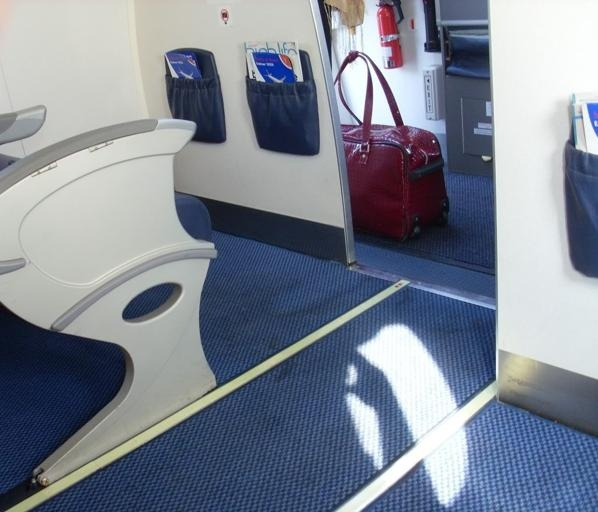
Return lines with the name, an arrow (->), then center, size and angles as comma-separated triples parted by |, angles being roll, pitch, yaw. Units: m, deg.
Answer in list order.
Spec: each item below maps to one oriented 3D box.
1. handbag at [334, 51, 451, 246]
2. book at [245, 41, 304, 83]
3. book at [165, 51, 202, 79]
handbag -> 0.396, -0.743, 2.828 | 0.392, 1.135, 0.965 | -24, 29, -36
book -> -0.108, -0.962, 2.215 | 0.203, 0.170, 0.025 | 15, 34, 36
book -> -0.658, -1.101, 2.609 | 0.174, 0.209, 0.073 | 14, 39, 24
